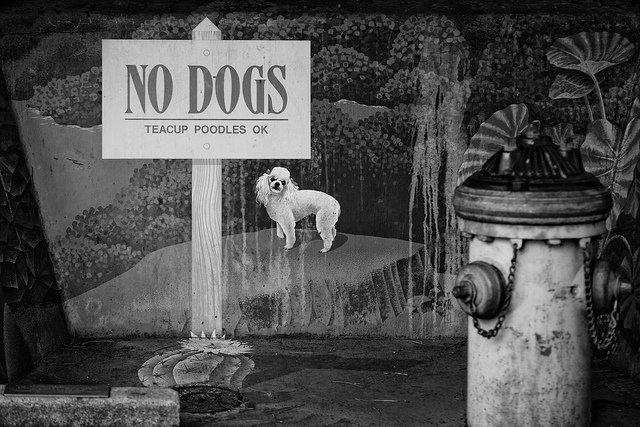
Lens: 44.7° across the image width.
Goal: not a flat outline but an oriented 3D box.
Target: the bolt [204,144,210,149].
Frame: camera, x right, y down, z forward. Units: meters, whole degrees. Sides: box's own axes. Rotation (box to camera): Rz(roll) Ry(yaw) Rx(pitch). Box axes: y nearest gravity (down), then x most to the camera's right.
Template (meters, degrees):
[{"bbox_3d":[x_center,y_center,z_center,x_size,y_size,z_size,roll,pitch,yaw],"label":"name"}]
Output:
[{"bbox_3d":[-1.148,-0.686,7.885,0.051,0.044,0.012,-2,14,-8],"label":"bolt"}]
